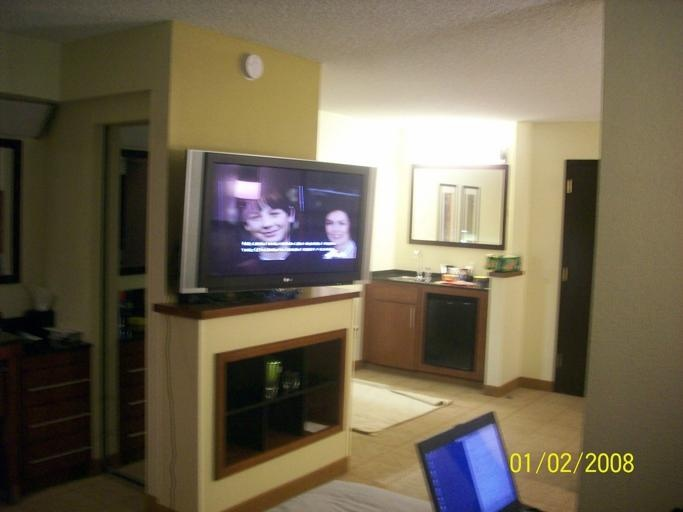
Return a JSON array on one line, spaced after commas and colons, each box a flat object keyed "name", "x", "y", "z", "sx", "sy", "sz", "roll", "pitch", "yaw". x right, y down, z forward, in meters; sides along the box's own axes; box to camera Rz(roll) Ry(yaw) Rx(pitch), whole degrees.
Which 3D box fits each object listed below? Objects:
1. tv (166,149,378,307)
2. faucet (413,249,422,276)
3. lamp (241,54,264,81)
[{"name": "tv", "x": -0.494, "y": -0.181, "z": 3.684, "sx": 1.154, "sy": 0.692, "sz": 0.117, "roll": 0, "pitch": 8, "yaw": -37}, {"name": "faucet", "x": 0.963, "y": 0.070, "z": 7.134, "sx": 0.067, "sy": 0.305, "sz": 0.164, "roll": -2, "pitch": 8, "yaw": -29}, {"name": "lamp", "x": -0.592, "y": -1.262, "z": 3.795, "sx": 0.036, "sy": 0.161, "sz": 0.160, "roll": 6, "pitch": 25, "yaw": 33}]
